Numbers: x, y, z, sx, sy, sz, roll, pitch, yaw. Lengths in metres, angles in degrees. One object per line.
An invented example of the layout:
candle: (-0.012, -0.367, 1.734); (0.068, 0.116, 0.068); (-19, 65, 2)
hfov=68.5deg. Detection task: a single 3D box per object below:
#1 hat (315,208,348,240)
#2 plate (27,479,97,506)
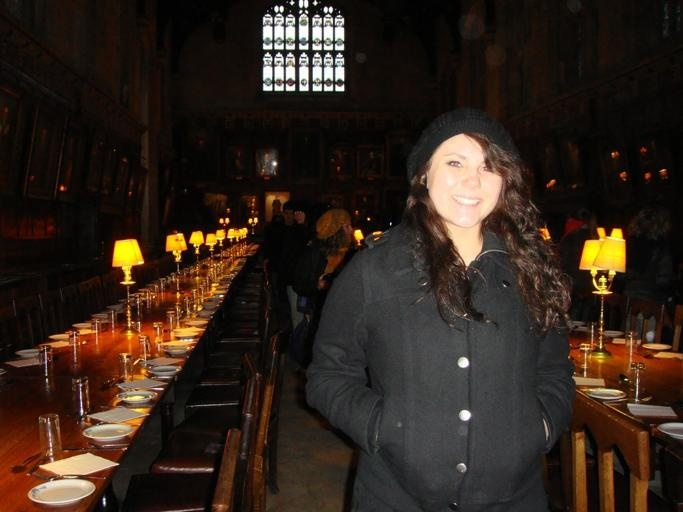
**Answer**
hat: (-0.052, -0.370, 5.164); (0.315, 0.102, 0.308); (-42, 19, -30)
plate: (-1.019, 0.864, 1.830); (0.175, 0.047, 0.177); (-2, -2, 35)
